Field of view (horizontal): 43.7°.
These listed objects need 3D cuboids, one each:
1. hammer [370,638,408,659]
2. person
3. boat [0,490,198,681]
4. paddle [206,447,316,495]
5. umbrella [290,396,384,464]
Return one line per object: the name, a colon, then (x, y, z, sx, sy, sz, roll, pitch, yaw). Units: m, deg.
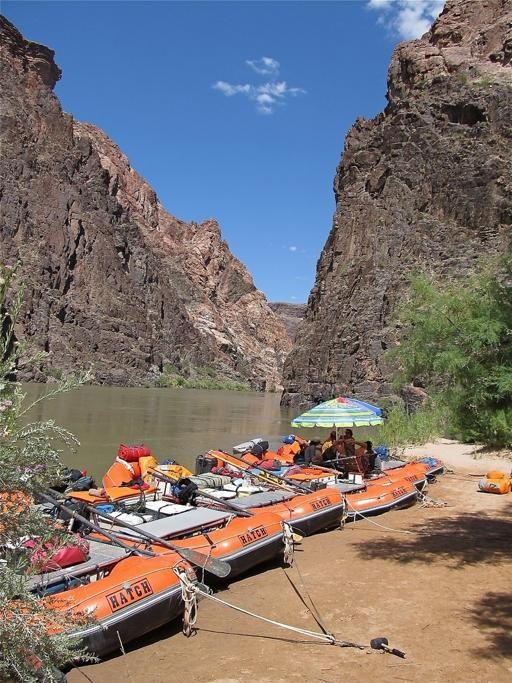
hammer: (1.180, 2.726, 5.672, 0.212, 0.081, 0.334, -1, -2, -26)
person: (1.704, 2.214, 12.612, 1.494, 0.557, 0.897, 0, 5, -43)
boat: (-1.435, 2.341, 5.803, 0.999, 0.484, 1.585, 5, -2, 24)
paddle: (-0.068, 2.391, 11.684, 2.380, 0.311, 0.611, 19, 18, 27)
umbrella: (1.768, 1.874, 14.203, 1.938, 1.154, 1.757, -1, 1, 28)
